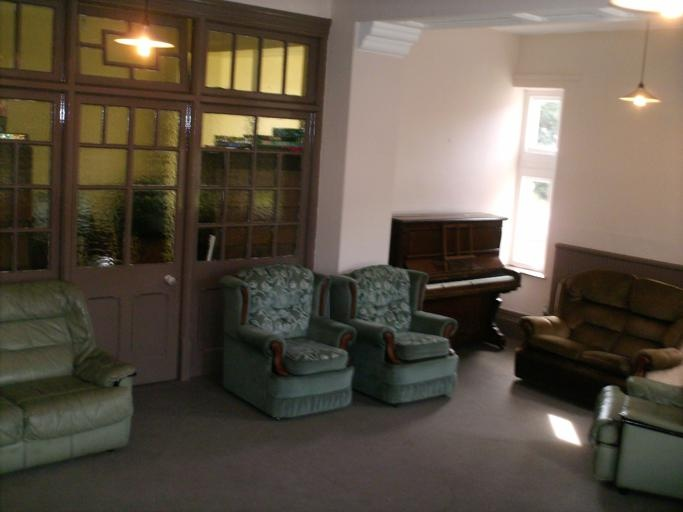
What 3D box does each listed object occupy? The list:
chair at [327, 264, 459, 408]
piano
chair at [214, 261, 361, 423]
[{"bbox_3d":[0.571,0.786,5.779,1.350,1.226,1.307,6,7,22],"label":"chair"},{"bbox_3d":[1.379,0.352,6.941,1.546,1.653,0.929,-3,6,-25],"label":"piano"},{"bbox_3d":[-0.495,0.784,5.276,1.001,1.207,1.090,-4,15,-36],"label":"chair"}]
